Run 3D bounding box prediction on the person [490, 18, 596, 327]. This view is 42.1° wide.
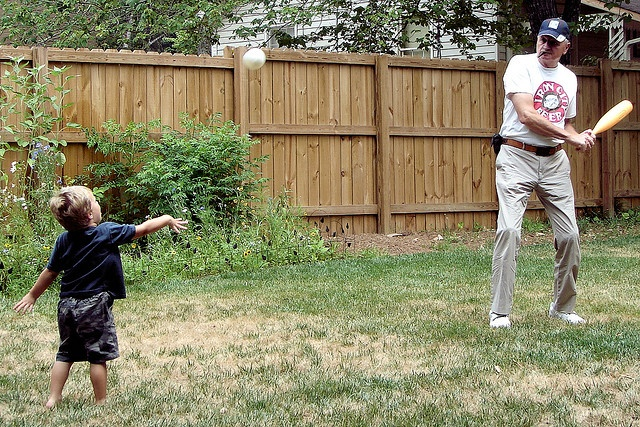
[{"bbox_3d":[2.210,-0.410,8.375,1.051,2.978,0.938,-1,12,1],"label":"person"}]

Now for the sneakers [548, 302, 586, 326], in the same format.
[{"bbox_3d":[2.498,1.013,8.446,0.378,0.164,0.140,6,11,40],"label":"sneakers"}]

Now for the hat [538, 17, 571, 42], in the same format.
[{"bbox_3d":[2.347,-1.826,8.342,0.305,0.217,0.257,2,14,15],"label":"hat"}]

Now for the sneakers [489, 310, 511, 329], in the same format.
[{"bbox_3d":[1.790,1.052,8.260,0.206,0.130,0.174,2,14,14],"label":"sneakers"}]
